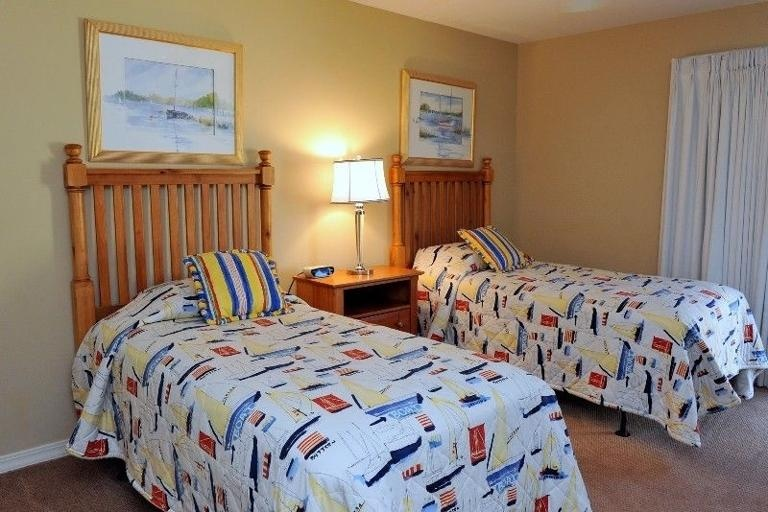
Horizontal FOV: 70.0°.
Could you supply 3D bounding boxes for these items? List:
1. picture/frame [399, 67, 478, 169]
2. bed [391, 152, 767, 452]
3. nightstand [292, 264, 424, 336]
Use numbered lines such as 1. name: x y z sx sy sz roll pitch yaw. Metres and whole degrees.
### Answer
1. picture/frame: 0.472 -1.262 4.998 0.997 0.824 0.073 -8 16 -38
2. bed: 1.457 -0.014 4.854 1.771 2.053 3.057 -13 15 -41
3. nightstand: -0.180 0.507 4.400 0.834 0.772 0.507 -9 12 -39
